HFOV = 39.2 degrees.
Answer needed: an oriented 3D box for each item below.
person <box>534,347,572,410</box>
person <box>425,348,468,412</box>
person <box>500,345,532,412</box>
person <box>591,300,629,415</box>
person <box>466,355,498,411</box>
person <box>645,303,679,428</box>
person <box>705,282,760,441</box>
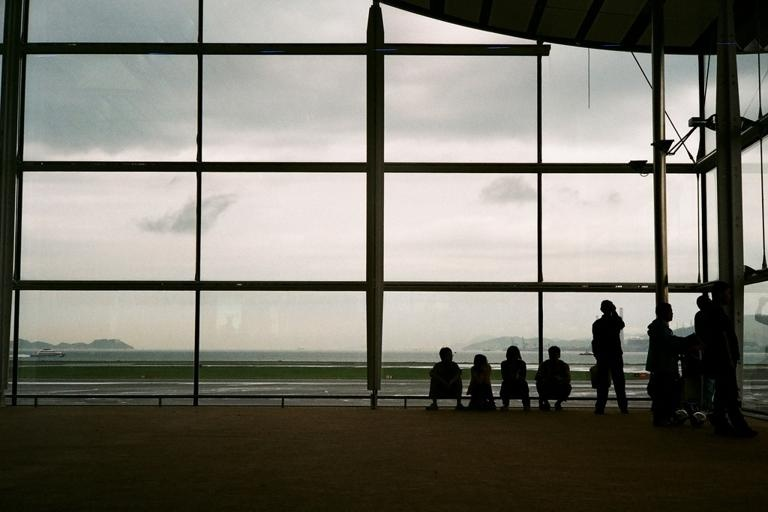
[{"bbox_3d":[3.271,2.374,21.016,0.667,1.231,0.454,-2,-13,7],"label":"person"},{"bbox_3d":[1.176,2.386,21.079,0.701,1.210,0.531,-3,-13,13],"label":"person"},{"bbox_3d":[2.518,2.361,20.977,0.560,1.251,0.444,-1,-13,6],"label":"person"},{"bbox_3d":[4.273,1.917,20.630,0.608,2.159,0.698,-2,-13,10],"label":"person"},{"bbox_3d":[1.863,2.441,20.913,0.503,1.075,0.458,-1,-13,4],"label":"person"},{"bbox_3d":[4.908,1.890,19.000,0.602,2.139,0.324,-3,-14,12],"label":"person"},{"bbox_3d":[5.609,1.695,17.804,0.596,2.533,0.654,-9,-16,33],"label":"person"}]
